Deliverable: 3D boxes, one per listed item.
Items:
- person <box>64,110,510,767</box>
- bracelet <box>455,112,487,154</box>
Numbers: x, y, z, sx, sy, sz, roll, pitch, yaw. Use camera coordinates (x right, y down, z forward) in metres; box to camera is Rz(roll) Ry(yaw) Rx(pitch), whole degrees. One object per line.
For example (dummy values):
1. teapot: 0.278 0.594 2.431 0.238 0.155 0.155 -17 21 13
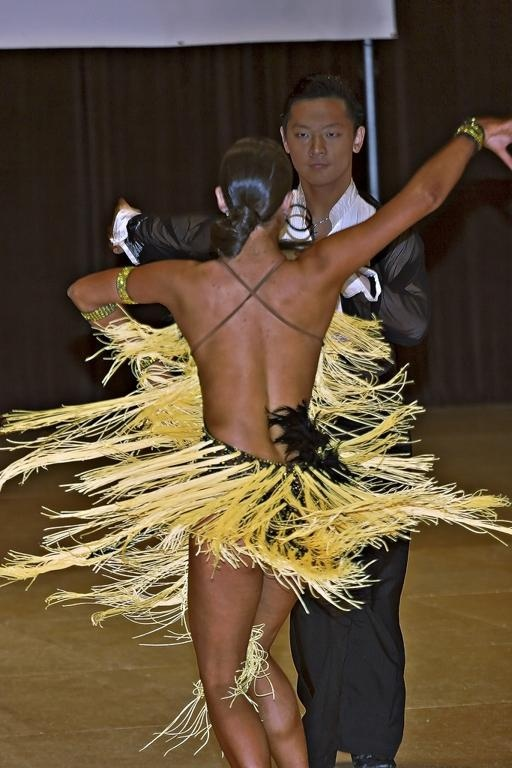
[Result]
1. person: 0.060 0.091 1.169 0.738 1.041 0.402 -3 2 -2
2. bracelet: 0.350 -0.413 1.243 0.056 0.060 0.059 1 -41 -4
